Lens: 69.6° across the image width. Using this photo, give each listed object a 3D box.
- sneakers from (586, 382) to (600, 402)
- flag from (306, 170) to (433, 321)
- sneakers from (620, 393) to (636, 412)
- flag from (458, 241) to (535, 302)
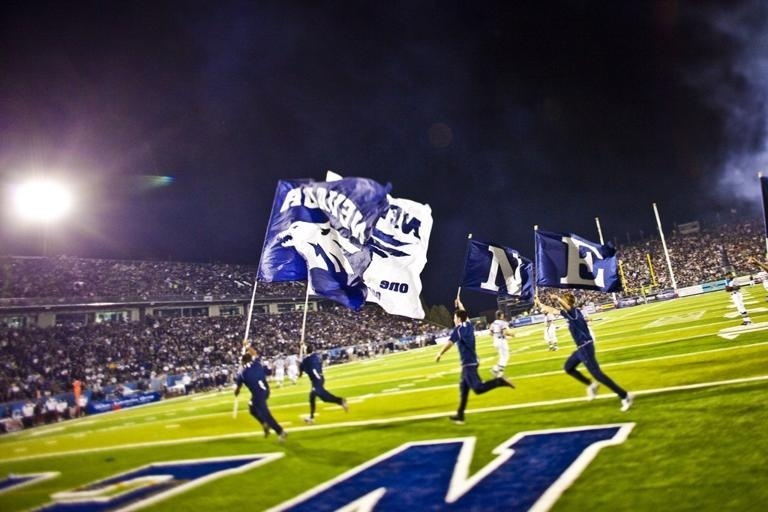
[{"bbox_3d":[5.456,3.483,14.518,0.266,0.585,0.202,-1,23,10],"label":"sneakers"},{"bbox_3d":[0.375,-0.014,15.153,1.708,3.551,1.129,-8,-2,34],"label":"flag"},{"bbox_3d":[6.041,3.600,13.743,0.214,0.515,0.186,28,-36,14],"label":"sneakers"},{"bbox_3d":[3.486,0.481,17.297,1.874,1.242,0.256,11,-11,-23],"label":"flag"}]
